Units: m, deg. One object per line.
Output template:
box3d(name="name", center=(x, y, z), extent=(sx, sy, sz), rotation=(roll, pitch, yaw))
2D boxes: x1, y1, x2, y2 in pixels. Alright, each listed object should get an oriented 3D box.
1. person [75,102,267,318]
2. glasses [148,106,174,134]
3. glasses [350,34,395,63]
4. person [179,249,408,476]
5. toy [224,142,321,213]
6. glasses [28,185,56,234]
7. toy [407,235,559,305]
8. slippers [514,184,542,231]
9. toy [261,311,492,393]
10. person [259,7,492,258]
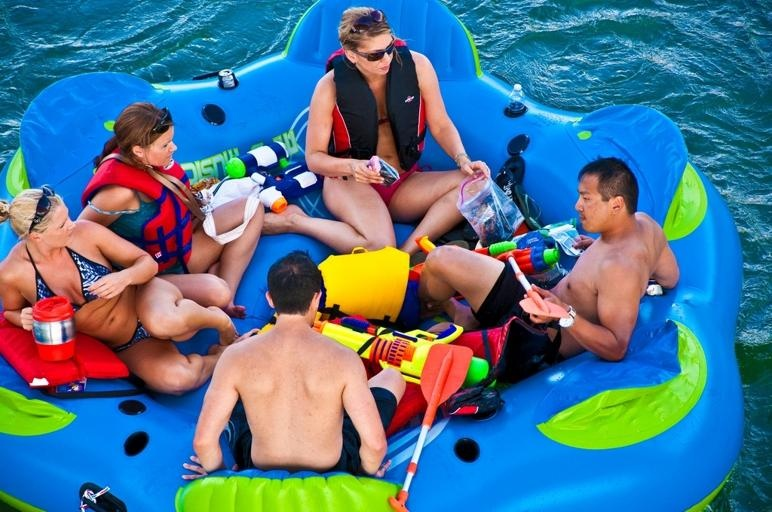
box3d(name="person", center=(-1.476, -0.269, 5.295), extent=(1.204, 1.474, 1.146), rotation=(-8, 32, -14))
box3d(name="glasses", center=(-1.479, -0.894, 4.988), extent=(0.152, 0.052, 0.149), rotation=(15, 40, -3))
box3d(name="glasses", center=(-0.095, -1.473, 5.335), extent=(0.209, 0.065, 0.213), rotation=(-40, 39, -22))
box3d(name="person", center=(-0.546, 0.672, 4.642), extent=(1.422, 1.404, 1.010), rotation=(3, 16, -4))
box3d(name="toy", center=(-0.911, -0.669, 6.101), extent=(0.627, 0.237, 0.636), rotation=(39, 46, 22))
box3d(name="glasses", center=(-2.095, -0.291, 4.648), extent=(0.073, 0.241, 0.234), rotation=(26, 50, -12))
box3d(name="toy", center=(0.659, 0.035, 5.435), extent=(0.972, 0.766, 0.300), rotation=(2, 74, 30))
box3d(name="slippers", center=(1.077, -0.366, 5.888), extent=(0.152, 0.105, 0.380), rotation=(-24, 76, 18))
box3d(name="toy", center=(-0.082, 0.698, 5.020), extent=(1.580, 0.294, 0.608), rotation=(6, 56, 17))
box3d(name="person", center=(-0.068, -0.890, 5.915), extent=(1.488, 1.526, 1.032), rotation=(-19, 48, -16))
